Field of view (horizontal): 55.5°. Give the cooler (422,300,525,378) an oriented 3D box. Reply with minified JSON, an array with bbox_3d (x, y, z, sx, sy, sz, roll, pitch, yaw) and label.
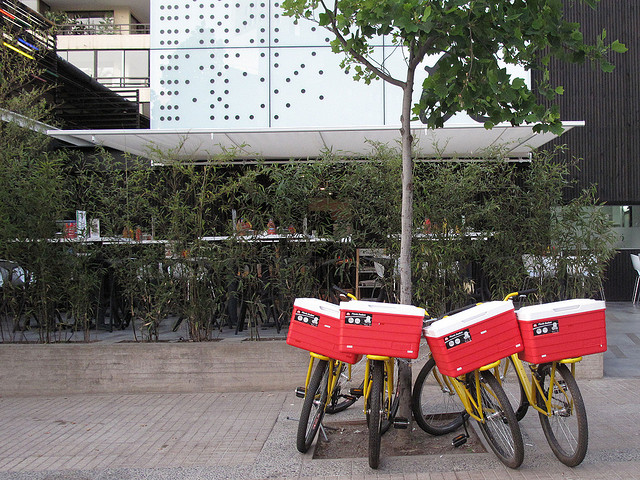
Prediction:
[{"bbox_3d":[1.177,0.827,4.844,0.824,0.607,0.499,-20,0,-7],"label":"cooler"}]

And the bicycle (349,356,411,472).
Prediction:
[{"bbox_3d":[0.504,1.266,4.886,0.492,0.870,0.706,-2,11,-2],"label":"bicycle"}]

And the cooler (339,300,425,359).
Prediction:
[{"bbox_3d":[0.468,0.681,4.620,0.640,0.423,0.182,0,11,8],"label":"cooler"}]

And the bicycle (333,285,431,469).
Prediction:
[{"bbox_3d":[0.483,1.309,5.239,0.653,0.930,1.381,2,0,3],"label":"bicycle"}]

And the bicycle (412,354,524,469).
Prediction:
[{"bbox_3d":[1.218,1.333,4.985,0.714,0.871,0.718,6,1,16],"label":"bicycle"}]

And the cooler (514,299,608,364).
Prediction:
[{"bbox_3d":[1.877,0.704,4.739,0.728,0.461,0.248,-3,11,-8],"label":"cooler"}]

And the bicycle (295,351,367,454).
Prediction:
[{"bbox_3d":[0.053,1.284,5.075,0.558,0.913,0.574,9,1,9],"label":"bicycle"}]

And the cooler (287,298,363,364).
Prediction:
[{"bbox_3d":[-0.011,0.713,4.881,0.452,0.563,0.428,1,2,7],"label":"cooler"}]
